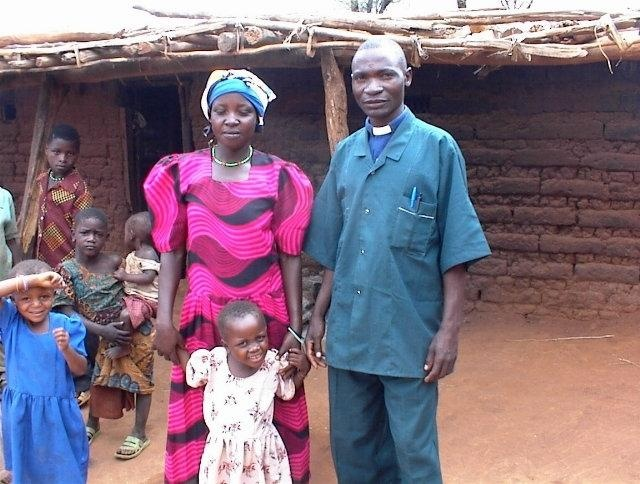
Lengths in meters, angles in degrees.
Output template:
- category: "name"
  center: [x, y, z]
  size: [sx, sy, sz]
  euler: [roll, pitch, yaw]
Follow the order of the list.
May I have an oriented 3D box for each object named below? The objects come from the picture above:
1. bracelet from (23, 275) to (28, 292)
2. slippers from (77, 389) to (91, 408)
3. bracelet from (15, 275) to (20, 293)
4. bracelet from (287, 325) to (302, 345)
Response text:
- category: "bracelet"
  center: [-1.773, 0.252, 4.235]
  size: [0.030, 0.095, 0.060]
  euler: [-4, 6, -22]
- category: "slippers"
  center: [-1.874, 1.245, 5.517]
  size: [0.088, 0.099, 0.245]
  euler: [-1, -7, -5]
- category: "bracelet"
  center: [-1.818, 0.257, 4.226]
  size: [0.032, 0.086, 0.070]
  euler: [-4, 7, -28]
- category: "bracelet"
  center: [-0.150, 0.559, 4.211]
  size: [0.029, 0.111, 0.082]
  euler: [-49, 3, -8]
